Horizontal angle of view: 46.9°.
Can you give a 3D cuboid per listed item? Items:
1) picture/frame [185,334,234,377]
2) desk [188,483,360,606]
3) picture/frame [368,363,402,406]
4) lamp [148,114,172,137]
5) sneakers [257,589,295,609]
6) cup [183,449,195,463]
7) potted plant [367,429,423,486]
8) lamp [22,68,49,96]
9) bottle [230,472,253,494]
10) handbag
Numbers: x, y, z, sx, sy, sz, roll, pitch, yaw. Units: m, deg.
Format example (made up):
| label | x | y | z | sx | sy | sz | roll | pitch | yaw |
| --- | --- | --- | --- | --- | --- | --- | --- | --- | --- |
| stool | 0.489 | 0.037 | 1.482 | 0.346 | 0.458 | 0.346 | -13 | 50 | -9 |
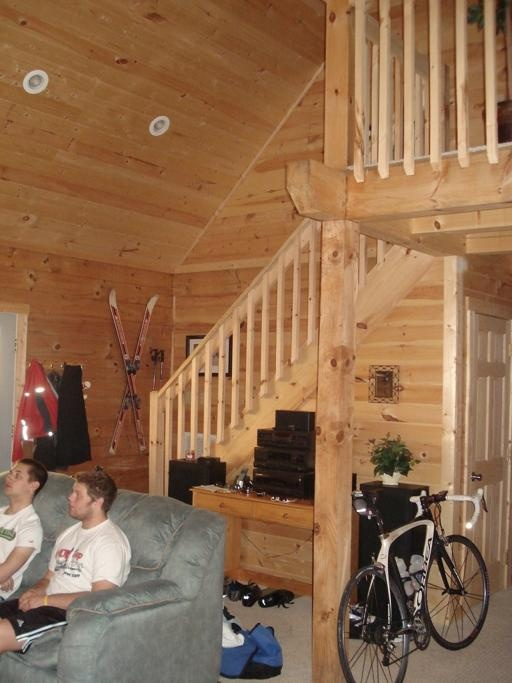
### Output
| label | x | y | z | sx | sy | sz | roll | pitch | yaw |
| --- | --- | --- | --- | --- | --- | --- | --- | --- | --- |
| picture/frame | -0.400 | 0.133 | 5.348 | 0.447 | 0.306 | 0.020 | 4 | 6 | 43 |
| desk | 0.119 | 1.223 | 3.576 | 1.252 | 0.785 | 0.449 | -4 | -10 | 43 |
| picture/frame | 0.941 | 0.314 | 4.308 | 0.255 | 0.273 | 0.025 | -3 | -9 | 42 |
| lamp | -0.825 | -1.855 | 5.059 | 0.174 | 0.141 | 0.169 | 3 | -6 | 3 |
| sneakers | 0.166 | 1.815 | 4.176 | 0.187 | 0.086 | 0.361 | -1 | -7 | 31 |
| cup | -0.567 | 0.989 | 5.032 | 0.091 | 0.157 | 0.087 | 1 | -8 | 0 |
| potted plant | 0.945 | 0.807 | 4.046 | 0.299 | 0.324 | 0.480 | 2 | -6 | 13 |
| lamp | -1.539 | -1.825 | 4.135 | 0.178 | 0.133 | 0.158 | 8 | -8 | -40 |
| bottle | -0.098 | 1.075 | 4.482 | 0.149 | 0.124 | 0.249 | 4 | -6 | -6 |
| handbag | -0.020 | 1.486 | 2.861 | 0.374 | 0.129 | 0.359 | 5 | 33 | -8 |
